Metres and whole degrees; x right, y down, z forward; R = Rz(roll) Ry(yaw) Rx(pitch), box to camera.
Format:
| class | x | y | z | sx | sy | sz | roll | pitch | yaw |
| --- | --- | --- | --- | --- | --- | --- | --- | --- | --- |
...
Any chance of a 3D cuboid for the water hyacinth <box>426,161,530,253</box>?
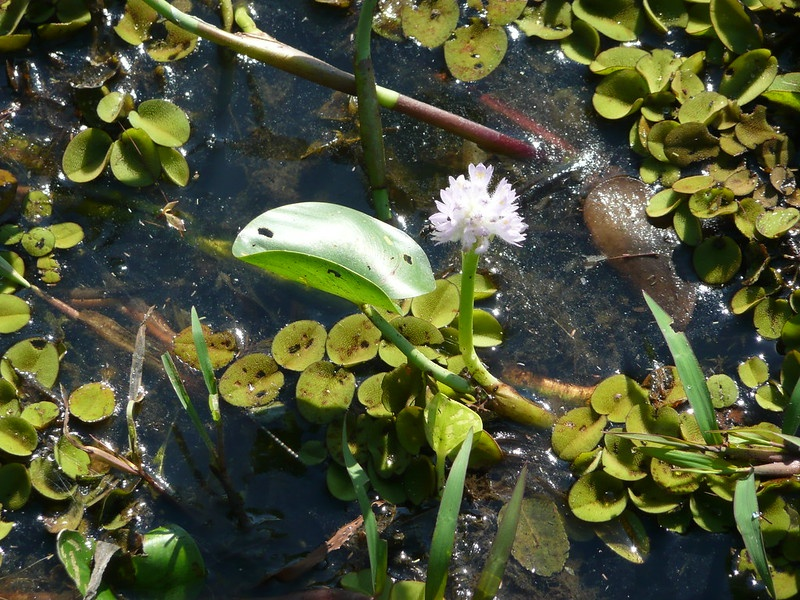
| class | x | y | z | sx | sy | sz | roll | pitch | yaw |
| --- | --- | --- | --- | --- | --- | --- | --- | --- | --- |
| water hyacinth | 0.261 | -0.294 | 3.112 | 0.280 | 0.188 | 0.317 | 4 | 76 | -5 |
